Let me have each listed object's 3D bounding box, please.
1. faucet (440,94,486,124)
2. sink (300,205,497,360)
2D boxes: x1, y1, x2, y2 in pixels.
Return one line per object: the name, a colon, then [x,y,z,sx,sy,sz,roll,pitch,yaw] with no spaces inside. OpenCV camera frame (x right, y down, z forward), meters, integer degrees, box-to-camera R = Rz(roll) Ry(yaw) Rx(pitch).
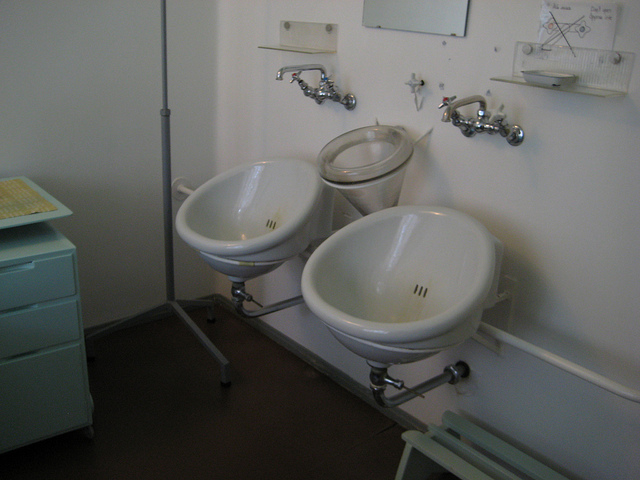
faucet: [0.425,-0.399,1.460,0.110,0.098,0.048,-2,-16,27]
sink: [0.222,0.125,1.447,0.517,0.296,0.502,17,35,25]
